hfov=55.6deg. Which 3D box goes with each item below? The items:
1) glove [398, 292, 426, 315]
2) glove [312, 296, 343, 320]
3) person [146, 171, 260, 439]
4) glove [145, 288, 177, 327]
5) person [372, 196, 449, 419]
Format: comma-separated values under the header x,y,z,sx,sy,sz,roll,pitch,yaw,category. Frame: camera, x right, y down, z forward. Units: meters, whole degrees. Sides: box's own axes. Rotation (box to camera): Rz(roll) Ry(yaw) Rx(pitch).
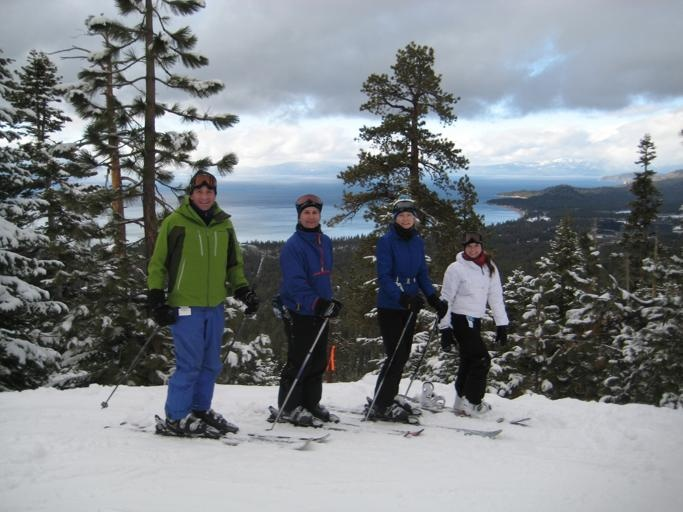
x,y,z,sx,sy,sz,roll,pitch,yaw,category
1.154,0.723,10.572,0.379,0.289,0.137,19,23,9,glove
-0.192,0.855,10.339,0.478,0.388,0.301,7,13,26,glove
-2.180,0.761,10.067,1.541,4.066,1.122,-5,13,-29,person
-2.743,0.792,9.916,0.412,0.582,0.210,-26,-18,-15,glove
1.055,0.874,10.854,1.064,3.700,1.033,4,12,12,person
